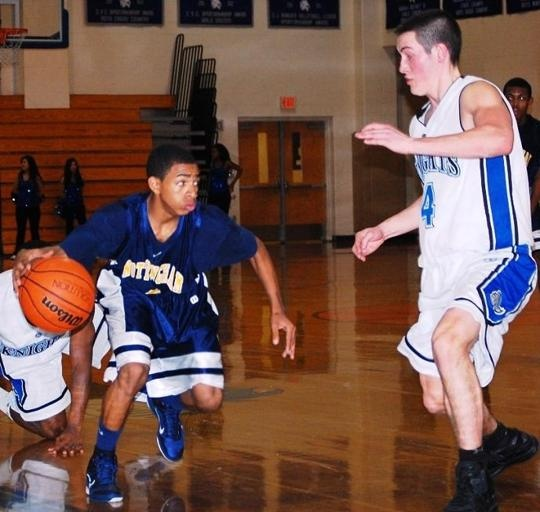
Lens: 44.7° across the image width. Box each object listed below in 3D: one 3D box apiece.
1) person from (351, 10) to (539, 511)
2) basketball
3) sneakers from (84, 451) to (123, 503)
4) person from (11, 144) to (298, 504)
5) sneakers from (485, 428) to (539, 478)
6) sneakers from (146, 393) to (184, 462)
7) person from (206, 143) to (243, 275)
[{"bbox_3d":[0.515,-0.024,1.841,0.564,1.328,0.687,1,8,6],"label":"person"},{"bbox_3d":[-0.542,0.085,1.796,0.186,0.232,0.199,6,4,0],"label":"basketball"},{"bbox_3d":[-0.457,0.601,1.788,0.063,0.092,0.185,3,-7,-20],"label":"sneakers"},{"bbox_3d":[-0.274,0.157,2.340,1.071,1.195,0.853,1,9,-24],"label":"person"},{"bbox_3d":[0.702,0.585,1.941,0.245,0.106,0.081,-13,16,-38],"label":"sneakers"},{"bbox_3d":[-0.325,0.540,2.122,0.079,0.241,0.093,-2,-23,-38],"label":"sneakers"},{"bbox_3d":[-0.670,-0.805,9.050,0.548,1.466,0.445,0,5,1],"label":"person"}]
